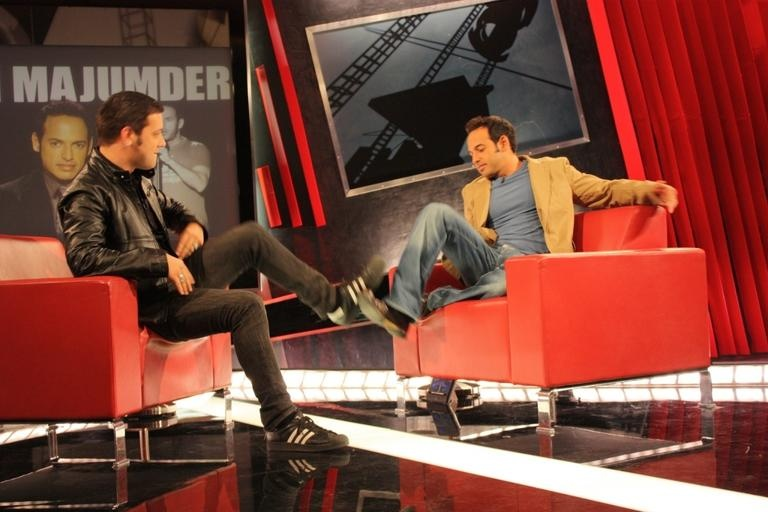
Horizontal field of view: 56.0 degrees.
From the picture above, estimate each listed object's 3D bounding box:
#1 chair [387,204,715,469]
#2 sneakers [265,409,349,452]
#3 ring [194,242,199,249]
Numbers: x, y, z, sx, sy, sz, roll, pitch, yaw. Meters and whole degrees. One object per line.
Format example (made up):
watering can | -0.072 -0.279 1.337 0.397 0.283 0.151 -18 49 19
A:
chair | 0.881 0.286 3.812 1.183 1.146 1.455 4 -8 -34
sneakers | -0.335 0.791 3.272 0.437 0.191 0.152 0 -2 -1
ring | -0.873 -0.045 3.375 0.026 0.024 0.008 16 -30 4
